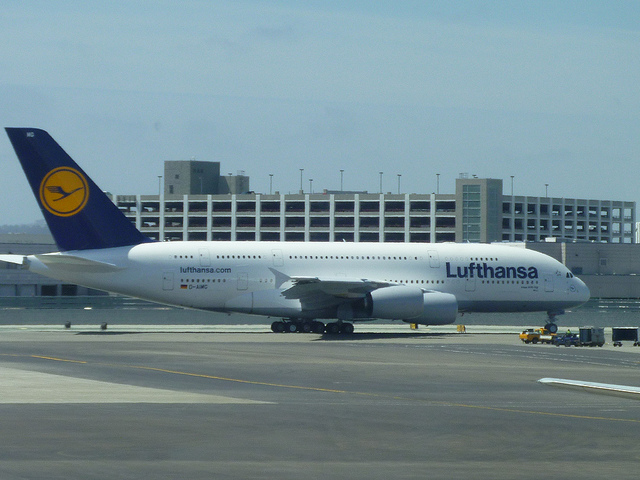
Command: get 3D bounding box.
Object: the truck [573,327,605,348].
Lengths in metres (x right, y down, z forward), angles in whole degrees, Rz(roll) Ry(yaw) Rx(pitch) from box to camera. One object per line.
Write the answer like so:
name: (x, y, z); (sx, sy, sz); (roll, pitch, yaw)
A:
truck: (13.455, 4.878, 77.844); (1.644, 0.937, 0.943); (1, 4, 0)
